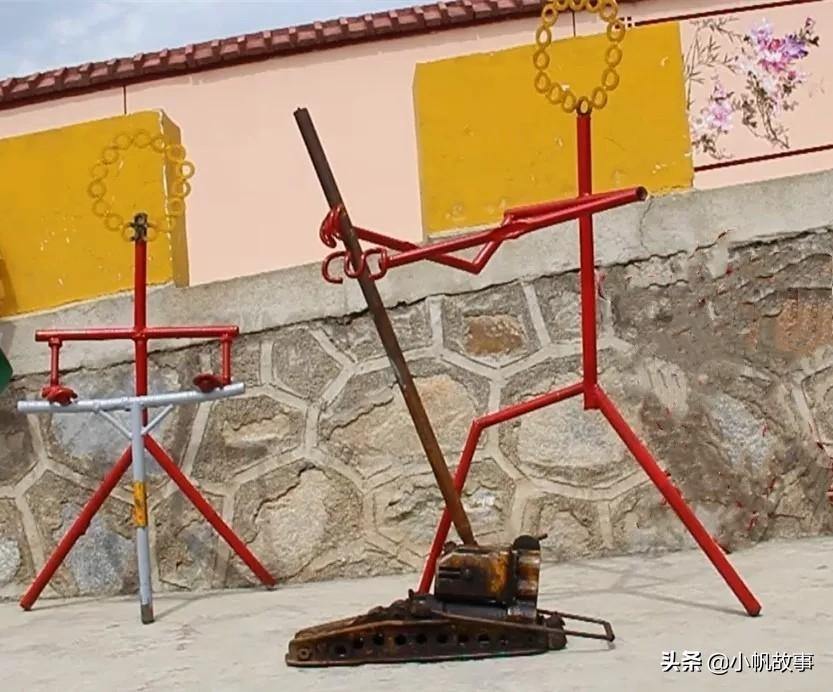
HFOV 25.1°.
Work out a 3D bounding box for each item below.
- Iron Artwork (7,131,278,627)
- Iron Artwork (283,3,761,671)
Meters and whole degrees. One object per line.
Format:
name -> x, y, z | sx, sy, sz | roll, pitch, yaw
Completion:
Iron Artwork -> -1.156, 0.085, 7.287 | 0.995, 1.755, 1.099 | -11, 16, -29
Iron Artwork -> 0.094, -0.088, 8.143 | 1.852, 3.554, 2.564 | 0, -6, -6
